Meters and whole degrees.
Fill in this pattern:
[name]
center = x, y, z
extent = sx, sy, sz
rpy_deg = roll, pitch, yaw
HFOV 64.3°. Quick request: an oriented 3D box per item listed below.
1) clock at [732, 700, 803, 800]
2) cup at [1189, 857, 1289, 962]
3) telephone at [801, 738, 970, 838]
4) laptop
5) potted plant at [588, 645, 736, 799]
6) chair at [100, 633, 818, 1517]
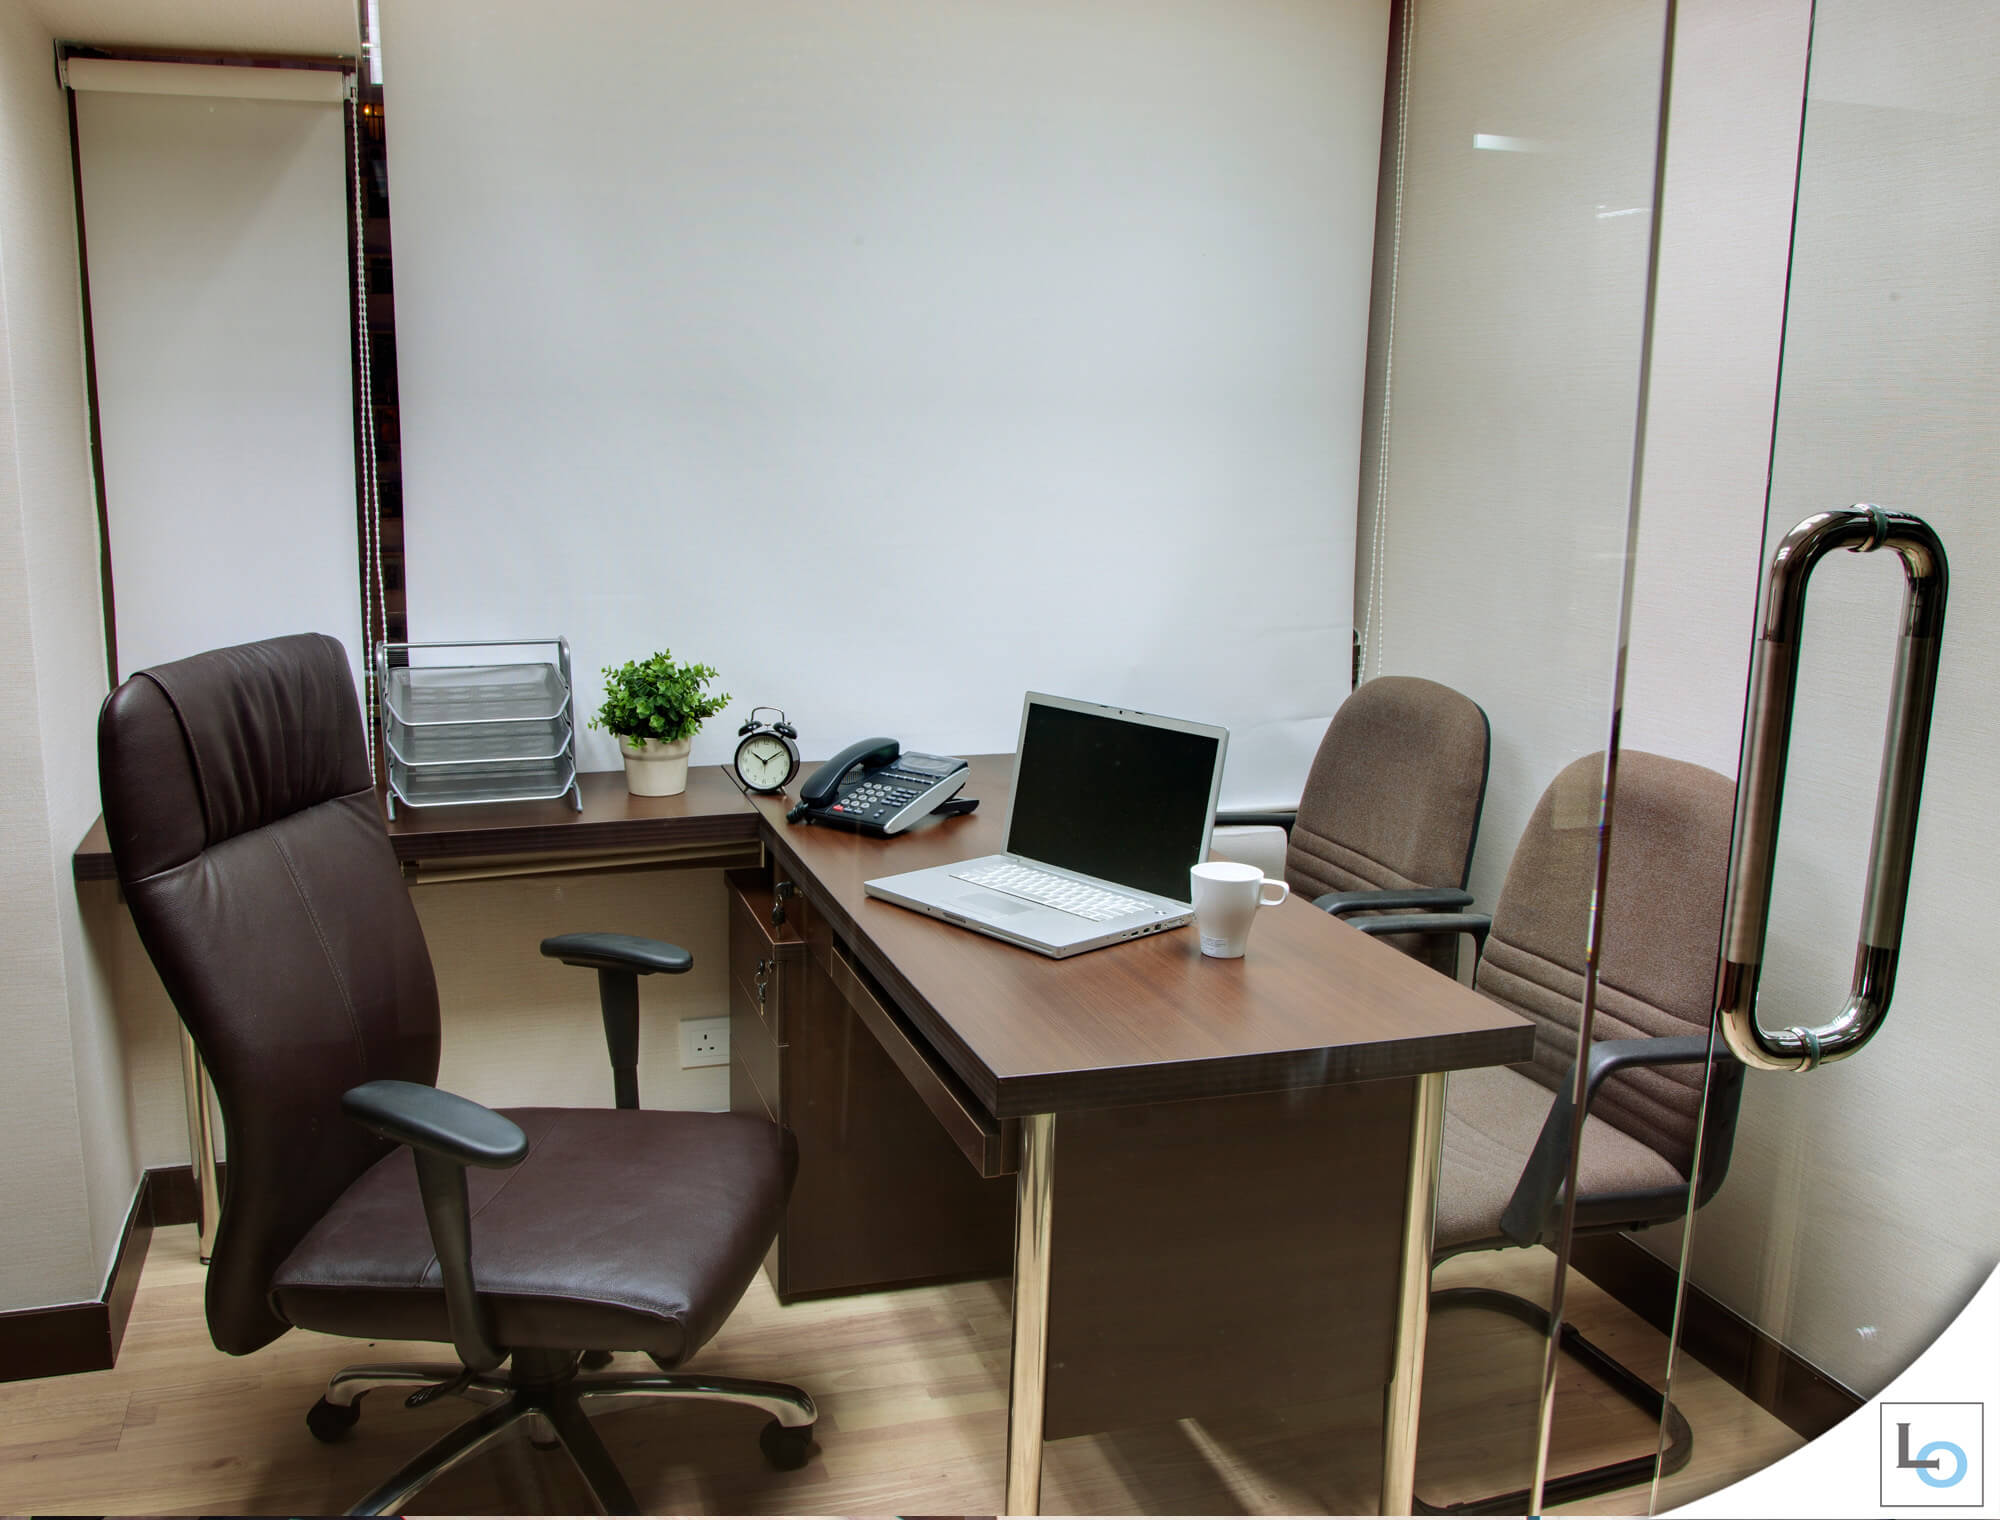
[clock]
center = -0.365, -0.019, 2.519
extent = 0.133, 0.197, 0.068
rpy_deg = 1, 12, 10
[cup]
center = 0.287, 0.182, 1.931
extent = 0.084, 0.098, 0.122
rpy_deg = -6, 11, -38
[telephone]
center = -0.185, 0.033, 2.384
extent = 0.220, 0.094, 0.238
rpy_deg = -20, 17, -35
[laptop]
center = 0.052, 0.061, 2.020
extent = 0.347, 0.251, 0.411
rpy_deg = -3, 11, -29
[potted plant]
center = -0.536, -0.053, 2.546
extent = 0.126, 0.174, 0.158
rpy_deg = 8, 1, 25
[chair]
center = -0.688, 0.238, 2.523
extent = 0.950, 1.583, 0.965
rpy_deg = 2, 7, 9
